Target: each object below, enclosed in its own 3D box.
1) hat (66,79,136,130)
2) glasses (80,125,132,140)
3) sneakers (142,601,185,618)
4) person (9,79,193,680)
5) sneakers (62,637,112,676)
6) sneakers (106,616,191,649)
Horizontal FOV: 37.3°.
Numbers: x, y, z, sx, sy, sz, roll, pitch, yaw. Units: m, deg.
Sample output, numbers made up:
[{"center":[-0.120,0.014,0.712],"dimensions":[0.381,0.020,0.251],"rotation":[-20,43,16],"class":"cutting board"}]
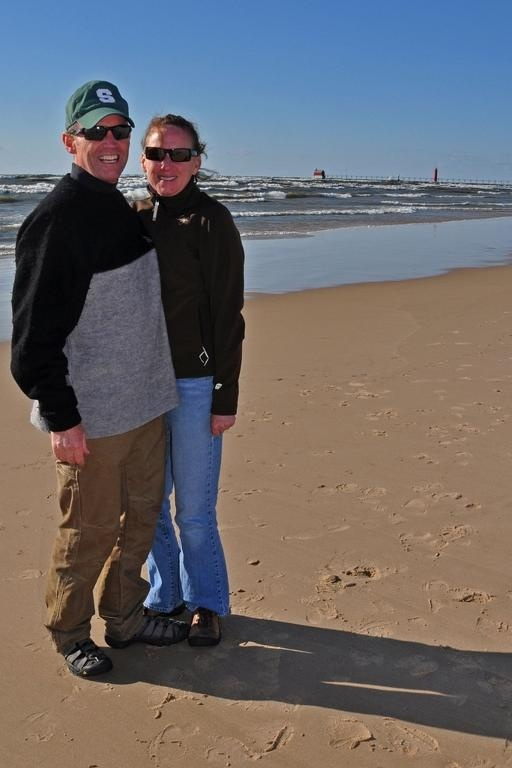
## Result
[{"center":[-0.608,-1.102,2.981],"dimensions":[0.241,0.166,0.320],"rotation":[-7,22,-25],"class":"hat"},{"center":[-0.576,-0.965,2.918],"dimensions":[0.207,0.075,0.068],"rotation":[-10,15,-38],"class":"glasses"},{"center":[-0.423,1.031,3.492],"dimensions":[0.188,0.069,0.060],"rotation":[-2,8,4],"class":"sneakers"},{"center":[-0.627,-0.007,2.968],"dimensions":[0.364,2.299,0.711],"rotation":[12,18,43],"class":"person"},{"center":[-0.677,1.083,3.030],"dimensions":[0.200,0.081,0.095],"rotation":[0,1,42],"class":"sneakers"},{"center":[-0.463,1.059,3.264],"dimensions":[0.289,0.107,0.143],"rotation":[-6,13,-11],"class":"sneakers"}]
